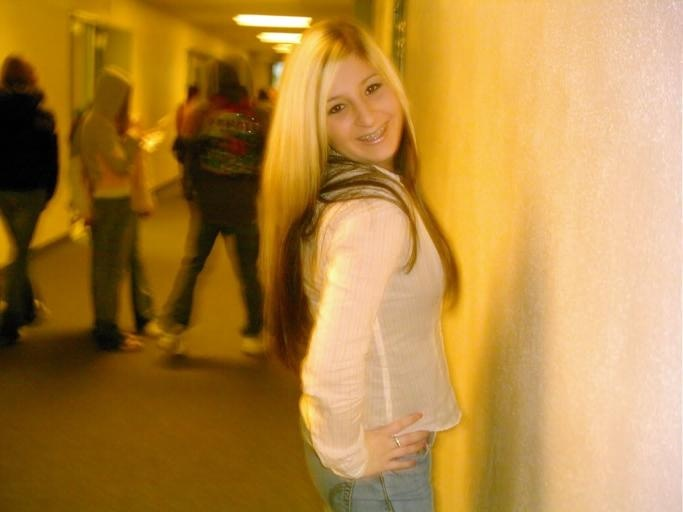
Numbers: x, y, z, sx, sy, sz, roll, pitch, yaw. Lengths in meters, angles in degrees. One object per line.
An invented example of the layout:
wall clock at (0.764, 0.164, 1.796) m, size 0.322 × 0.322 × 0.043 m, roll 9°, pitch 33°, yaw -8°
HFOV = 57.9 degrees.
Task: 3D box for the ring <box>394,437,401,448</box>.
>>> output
ring at (0.096, 0.324, 1.077) m, size 0.004 × 0.017 × 0.016 m, roll -12°, pitch 26°, yaw -14°

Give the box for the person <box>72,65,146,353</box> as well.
person at (-0.835, -0.145, 2.219) m, size 0.271 × 0.991 × 0.171 m, roll 0°, pitch 19°, yaw -9°
